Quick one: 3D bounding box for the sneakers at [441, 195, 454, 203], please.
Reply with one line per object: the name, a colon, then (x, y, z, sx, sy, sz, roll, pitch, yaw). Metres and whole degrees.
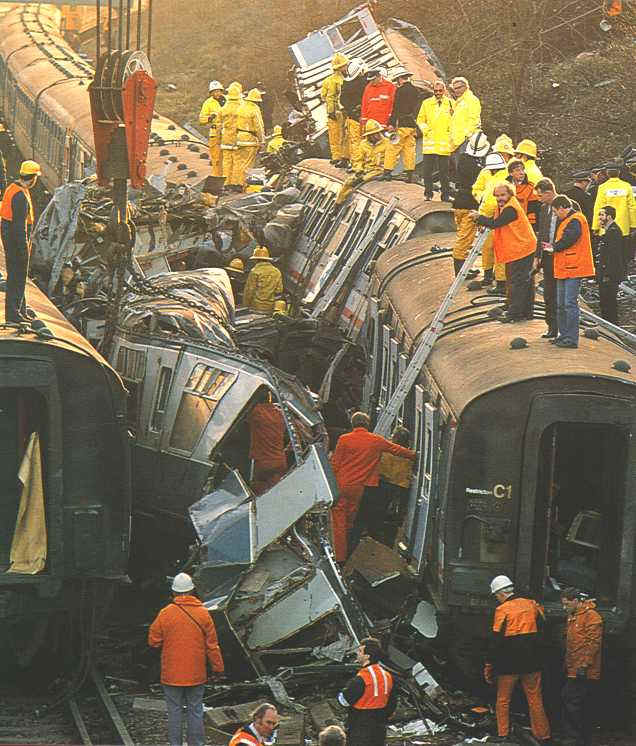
sneakers: (1.955, -2.704, 18.351, 0.165, 0.110, 0.125, 7, 23, -5)

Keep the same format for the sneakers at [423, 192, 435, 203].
sneakers: (1.672, -2.713, 18.362, 0.176, 0.110, 0.153, -2, -2, 7)

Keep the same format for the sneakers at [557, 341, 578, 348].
sneakers: (2.452, -0.299, 11.977, 0.162, 0.058, 0.188, 3, 1, -15)

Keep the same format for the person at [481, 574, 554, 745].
person: (1.779, 2.517, 10.694, 0.648, 1.225, 0.613, 5, 2, 7)

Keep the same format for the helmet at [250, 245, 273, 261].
helmet: (-0.961, -2.096, 20.973, 0.487, 0.236, 0.443, 0, 10, -15)

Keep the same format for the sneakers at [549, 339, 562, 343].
sneakers: (2.350, -0.339, 12.088, 0.093, 0.057, 0.128, 3, 1, -11)

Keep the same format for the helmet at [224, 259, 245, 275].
helmet: (-1.436, -1.932, 21.285, 0.299, 0.101, 0.321, 6, 16, -4)

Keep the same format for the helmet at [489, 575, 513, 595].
helmet: (1.603, 1.880, 10.771, 0.199, 0.100, 0.207, -20, 3, -13)

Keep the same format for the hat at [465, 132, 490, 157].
hat: (2.031, -2.947, 15.338, 0.326, 0.329, 0.160, 9, -21, 17)

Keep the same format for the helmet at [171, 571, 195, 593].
helmet: (-1.106, 1.733, 10.024, 0.224, 0.103, 0.237, 1, 35, -5)
